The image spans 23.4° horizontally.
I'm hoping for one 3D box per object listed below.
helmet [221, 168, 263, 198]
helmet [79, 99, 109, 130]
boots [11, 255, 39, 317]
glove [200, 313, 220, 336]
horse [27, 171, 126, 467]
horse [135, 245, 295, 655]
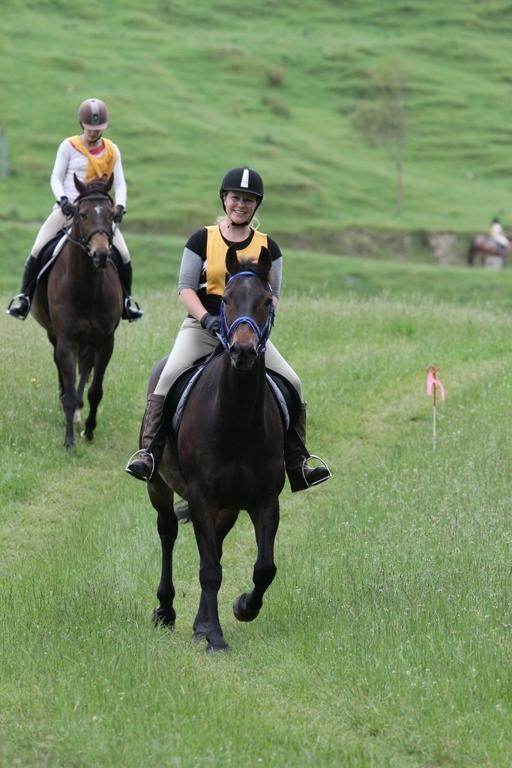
[{"bbox_3d":[-0.109,-1.432,8.680,0.294,0.202,0.278,1,13,-3],"label":"helmet"},{"bbox_3d":[-1.755,-2.904,13.252,0.281,0.326,0.630,0,14,-8],"label":"helmet"},{"bbox_3d":[-2.724,-1.106,14.340,0.243,0.835,0.226,11,-6,-2],"label":"boots"},{"bbox_3d":[-0.304,-0.418,8.345,0.109,0.149,0.058,-40,-19,28],"label":"glove"},{"bbox_3d":[-1.942,-0.802,13.634,0.936,3.012,2.209,-2,14,-13],"label":"horse"},{"bbox_3d":[-0.248,0.497,8.634,0.775,2.986,1.536,-3,14,-19],"label":"horse"}]
